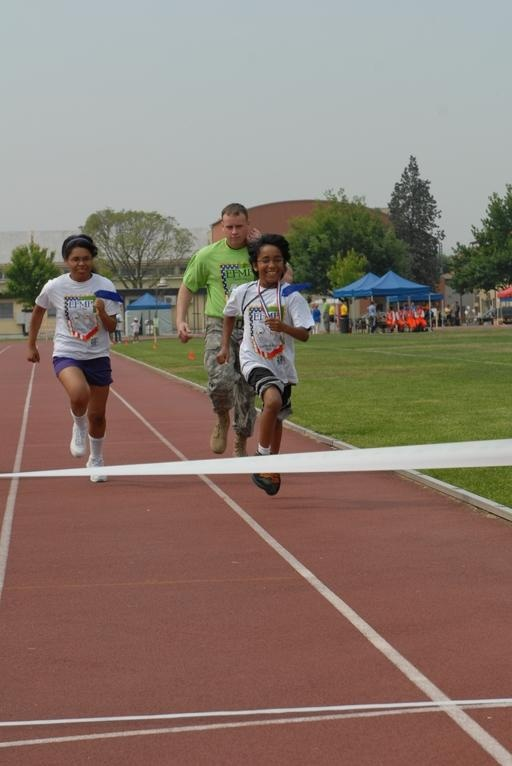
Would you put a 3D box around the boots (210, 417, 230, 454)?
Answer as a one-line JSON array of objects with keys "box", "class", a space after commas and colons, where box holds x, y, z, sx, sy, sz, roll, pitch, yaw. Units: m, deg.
[{"box": [-0.317, 0.485, 6.697, 0.159, 0.380, 0.277, 6, -10, 0], "class": "boots"}]

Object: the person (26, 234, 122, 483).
[{"box": [-1.341, -0.217, 5.812, 0.578, 1.826, 0.620, -1, 2, -33], "class": "person"}]

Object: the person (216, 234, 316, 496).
[{"box": [0.097, -0.250, 5.267, 0.488, 1.537, 0.836, 0, 2, -16], "class": "person"}]
